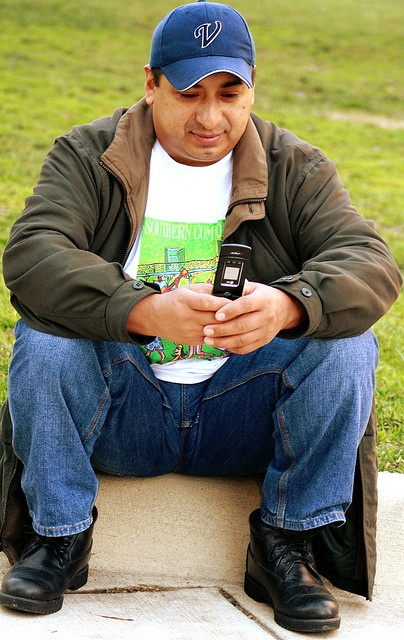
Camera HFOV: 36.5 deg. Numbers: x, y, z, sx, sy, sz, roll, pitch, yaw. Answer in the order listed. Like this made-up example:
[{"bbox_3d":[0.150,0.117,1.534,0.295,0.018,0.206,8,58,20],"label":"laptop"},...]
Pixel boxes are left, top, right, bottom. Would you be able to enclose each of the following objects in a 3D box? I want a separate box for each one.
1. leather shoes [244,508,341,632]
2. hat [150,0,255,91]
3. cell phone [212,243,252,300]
[{"bbox_3d":[0.222,0.678,1.641,0.129,0.178,0.341,2,0,-18],"label":"leather shoes"},{"bbox_3d":[-0.007,-0.855,2.005,0.278,0.199,0.359,-2,17,-14],"label":"hat"},{"bbox_3d":[0.077,-0.133,1.655,0.086,0.154,0.052,7,32,3],"label":"cell phone"}]
